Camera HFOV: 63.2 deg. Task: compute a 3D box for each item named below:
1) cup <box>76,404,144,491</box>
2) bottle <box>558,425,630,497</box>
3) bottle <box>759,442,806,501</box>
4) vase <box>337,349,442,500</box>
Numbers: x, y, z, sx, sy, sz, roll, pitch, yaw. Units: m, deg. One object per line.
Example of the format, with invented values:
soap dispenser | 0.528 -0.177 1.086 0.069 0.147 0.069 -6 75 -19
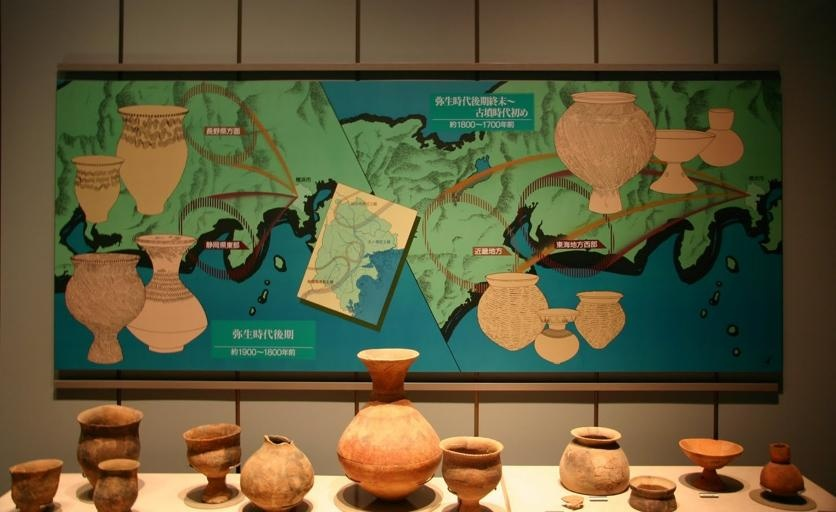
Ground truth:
cup | -1.677 1.014 3.838 0.429 0.482 0.424 0 1 0
bottle | 0.981 1.141 3.791 0.395 0.283 0.386 1 -2 0
bottle | 1.962 1.154 3.683 0.248 0.248 0.241 -5 -2 7
vase | -0.151 0.895 3.575 0.537 0.710 0.256 0 6 1
